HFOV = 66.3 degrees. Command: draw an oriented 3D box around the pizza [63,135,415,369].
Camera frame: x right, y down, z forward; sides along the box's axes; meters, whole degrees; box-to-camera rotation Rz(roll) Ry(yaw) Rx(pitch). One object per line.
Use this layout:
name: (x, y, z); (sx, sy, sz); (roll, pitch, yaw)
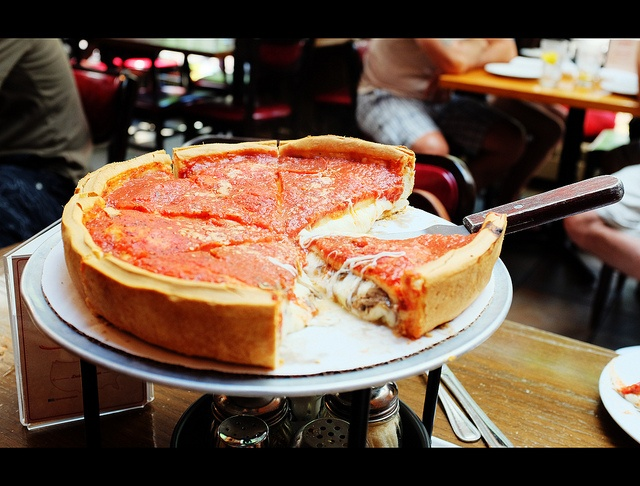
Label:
pizza: (-0.161, -0.074, 1.103); (0.626, 0.153, 0.822); (14, 32, 19)

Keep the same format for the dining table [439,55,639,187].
dining table: (1.121, -0.664, 2.649); (0.634, 0.368, 0.601); (6, 32, 10)

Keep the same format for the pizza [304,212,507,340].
pizza: (0.135, 0.046, 0.876); (0.293, 0.094, 0.220); (17, 31, 30)
